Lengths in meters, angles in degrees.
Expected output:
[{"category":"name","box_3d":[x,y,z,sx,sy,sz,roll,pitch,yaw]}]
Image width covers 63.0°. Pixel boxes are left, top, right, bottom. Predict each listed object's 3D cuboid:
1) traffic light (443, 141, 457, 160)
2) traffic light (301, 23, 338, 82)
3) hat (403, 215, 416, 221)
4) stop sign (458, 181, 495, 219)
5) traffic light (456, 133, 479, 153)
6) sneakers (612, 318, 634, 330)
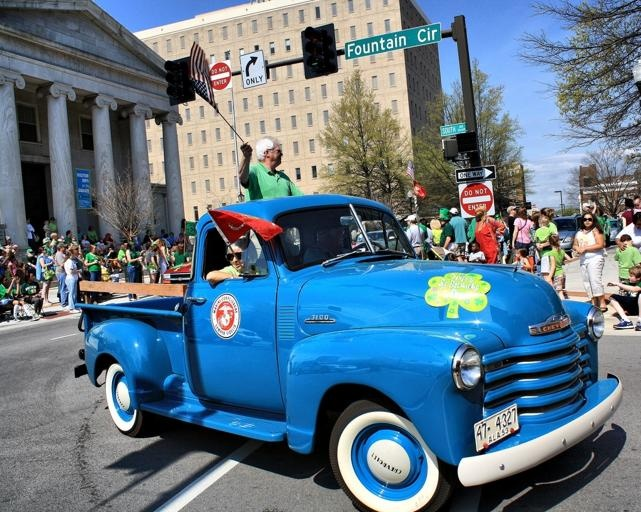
[{"category":"traffic light","box_3d":[3.188,-2.627,12.844,0.337,0.422,0.505,-3,2,15]},{"category":"traffic light","box_3d":[-0.031,-5.327,13.430,0.906,1.559,0.867,-4,2,0]},{"category":"hat","box_3d":[2.875,-1.182,16.617,0.199,0.159,0.275,-6,21,-44]},{"category":"stop sign","box_3d":[3.879,-1.396,13.014,0.947,1.116,0.044,-2,6,4]},{"category":"traffic light","box_3d":[3.477,-2.703,12.451,0.406,0.456,0.420,-1,7,26]},{"category":"sneakers","box_3d":[5.433,1.265,9.416,0.388,0.192,0.149,0,-6,2]}]
